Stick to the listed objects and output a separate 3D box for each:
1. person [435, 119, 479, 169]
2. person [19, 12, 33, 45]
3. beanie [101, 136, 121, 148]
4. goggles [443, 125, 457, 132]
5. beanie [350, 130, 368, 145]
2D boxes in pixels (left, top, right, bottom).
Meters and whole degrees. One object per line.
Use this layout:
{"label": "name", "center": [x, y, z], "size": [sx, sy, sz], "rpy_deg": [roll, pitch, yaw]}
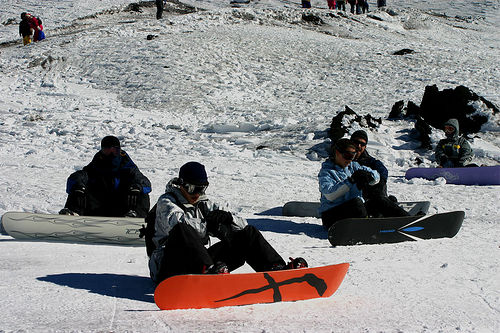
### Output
{"label": "person", "center": [4.972, -0.506, 16.013], "size": [1.458, 1.329, 0.769], "rpy_deg": [1, 14, 28]}
{"label": "person", "center": [-9.377, -5.759, 26.946], "size": [0.491, 1.214, 1.015], "rpy_deg": [-3, 14, -25]}
{"label": "beanie", "center": [-2.688, -0.477, 12.351], "size": [0.244, 0.178, 0.239], "rpy_deg": [0, 5, 13]}
{"label": "goggles", "center": [4.914, -0.944, 15.809], "size": [0.191, 0.094, 0.150], "rpy_deg": [13, -16, 15]}
{"label": "beanie", "center": [2.170, -0.576, 12.717], "size": [0.243, 0.231, 0.254], "rpy_deg": [15, -3, 8]}
